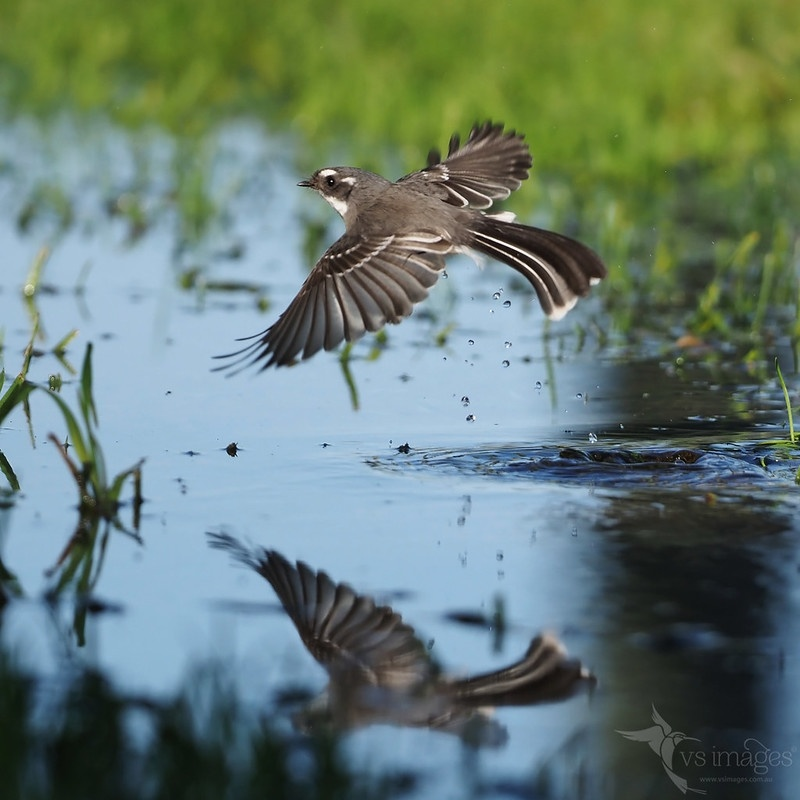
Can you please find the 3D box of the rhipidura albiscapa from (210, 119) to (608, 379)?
[{"bbox_3d":[0.101,-0.701,4.382,0.932,0.370,1.453,3,-3,0],"label":"rhipidura albiscapa"}]

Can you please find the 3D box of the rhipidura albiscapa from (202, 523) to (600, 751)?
[{"bbox_3d":[-0.043,0.545,2.425,0.826,0.284,0.556,-4,-3,44],"label":"rhipidura albiscapa"}]
